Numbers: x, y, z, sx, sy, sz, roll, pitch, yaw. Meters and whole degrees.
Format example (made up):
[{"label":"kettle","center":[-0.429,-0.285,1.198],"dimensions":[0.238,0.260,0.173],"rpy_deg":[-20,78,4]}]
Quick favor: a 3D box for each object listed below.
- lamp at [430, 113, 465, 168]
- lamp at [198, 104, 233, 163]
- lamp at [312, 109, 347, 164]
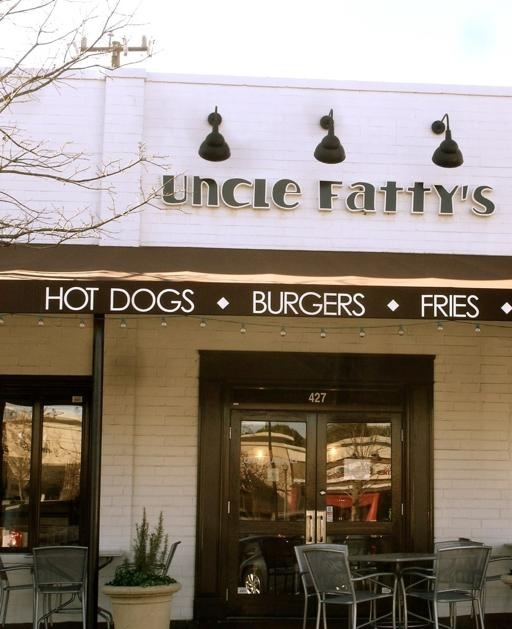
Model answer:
[{"label":"lamp","center":[2.003,-1.867,11.055],"dimensions":[0.375,0.613,0.441],"rpy_deg":[-2,-51,0]},{"label":"lamp","center":[-0.432,-1.940,10.929],"dimensions":[0.339,0.655,0.463],"rpy_deg":[1,-11,-3]},{"label":"lamp","center":[0.779,-1.932,10.988],"dimensions":[0.333,0.703,0.549],"rpy_deg":[0,-11,4]}]
